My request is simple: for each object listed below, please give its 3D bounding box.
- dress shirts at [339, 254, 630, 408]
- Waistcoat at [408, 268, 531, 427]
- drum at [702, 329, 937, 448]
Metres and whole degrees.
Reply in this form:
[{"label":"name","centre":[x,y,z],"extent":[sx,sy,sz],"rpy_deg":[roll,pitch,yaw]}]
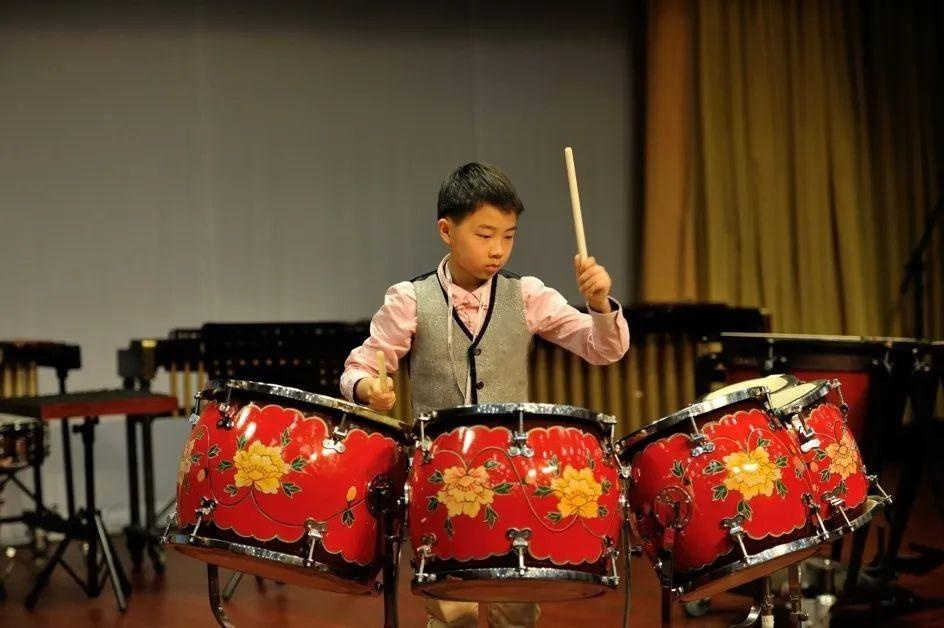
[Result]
[{"label":"dress shirts","centre":[0.021,0.044,4.080],"extent":[0.995,0.699,0.577],"rpy_deg":[0,-12,-14]},{"label":"Waistcoat","centre":[-0.035,0.187,4.141],"extent":[0.558,0.838,0.439],"rpy_deg":[0,-8,-7]},{"label":"drum","centre":[1.658,0.263,4.962],"extent":[0.696,0.729,0.557],"rpy_deg":[0,-5,6]}]
